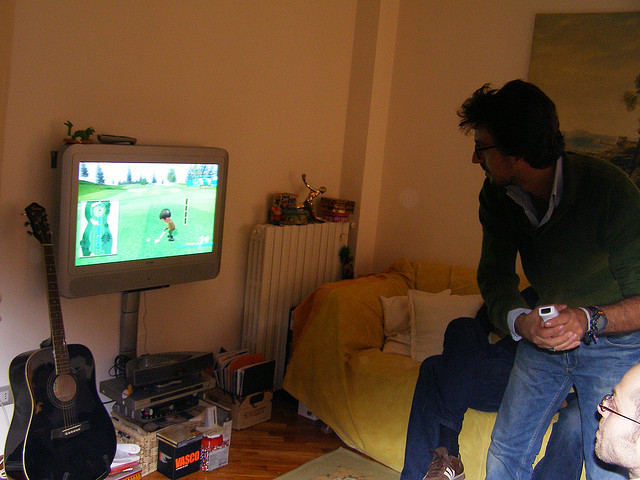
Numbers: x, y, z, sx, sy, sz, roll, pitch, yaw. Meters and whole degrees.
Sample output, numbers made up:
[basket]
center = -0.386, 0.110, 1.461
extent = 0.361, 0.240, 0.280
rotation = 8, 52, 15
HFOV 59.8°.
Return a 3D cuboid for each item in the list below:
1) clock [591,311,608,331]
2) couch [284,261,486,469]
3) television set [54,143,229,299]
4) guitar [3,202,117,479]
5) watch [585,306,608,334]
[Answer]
[clock]
center = 1.067, 0.310, 2.126
extent = 0.058, 0.074, 0.016
rotation = -3, 6, -10
[couch]
center = 0.760, 0.753, 3.839
extent = 1.605, 0.731, 1.567
rotation = -9, 17, -36
[television set]
center = -1.045, -0.136, 3.172
extent = 0.121, 0.795, 0.922
rotation = 10, 10, 41
[guitar]
center = -1.311, 0.523, 2.739
extent = 0.395, 1.419, 0.371
rotation = -1, 6, 9
[watch]
center = 1.062, 0.310, 2.126
extent = 0.073, 0.080, 0.034
rotation = -34, 3, -10
